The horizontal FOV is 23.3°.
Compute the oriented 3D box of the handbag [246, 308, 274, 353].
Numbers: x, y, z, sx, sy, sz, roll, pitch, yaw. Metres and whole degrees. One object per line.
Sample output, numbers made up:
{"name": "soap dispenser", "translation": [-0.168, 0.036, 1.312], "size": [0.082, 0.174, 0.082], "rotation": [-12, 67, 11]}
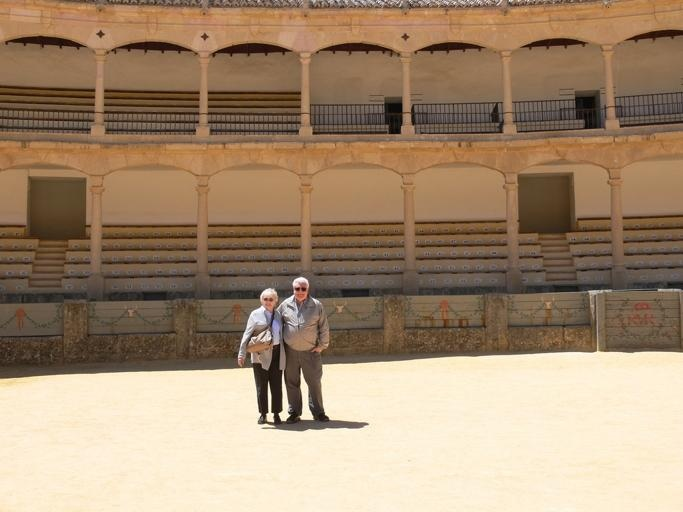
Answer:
{"name": "handbag", "translation": [-2.014, 1.943, 41.096], "size": [0.850, 1.006, 0.436], "rotation": [-16, -36, 15]}
